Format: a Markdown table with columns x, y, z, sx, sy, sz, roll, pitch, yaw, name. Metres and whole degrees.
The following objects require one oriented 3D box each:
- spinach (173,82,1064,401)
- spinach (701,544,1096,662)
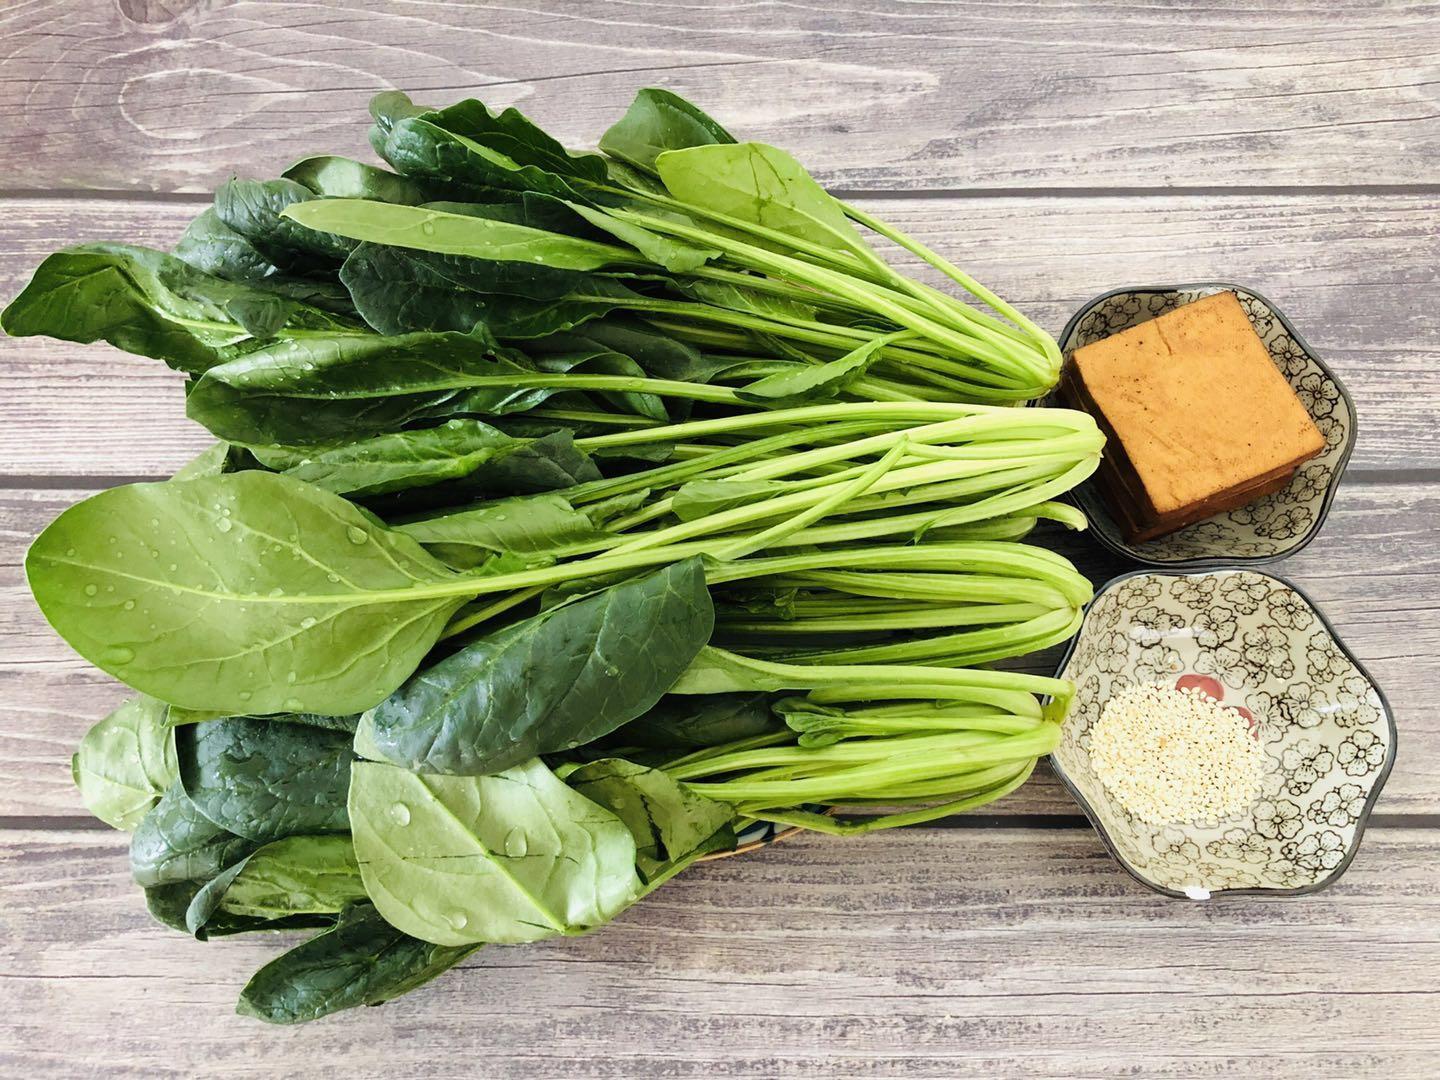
| x | y | z | sx | sy | sz | roll | pitch | yaw | name |
| --- | --- | --- | --- | --- | --- | --- | --- | --- | --- |
| -0.098 | -0.242 | 1.704 | 0.984 | 0.218 | 0.107 | 7 | 90 | -3 | spinach |
| 0.224 | 0.091 | 1.765 | 0.198 | 0.617 | 0.092 | -3 | 88 | -46 | spinach |
